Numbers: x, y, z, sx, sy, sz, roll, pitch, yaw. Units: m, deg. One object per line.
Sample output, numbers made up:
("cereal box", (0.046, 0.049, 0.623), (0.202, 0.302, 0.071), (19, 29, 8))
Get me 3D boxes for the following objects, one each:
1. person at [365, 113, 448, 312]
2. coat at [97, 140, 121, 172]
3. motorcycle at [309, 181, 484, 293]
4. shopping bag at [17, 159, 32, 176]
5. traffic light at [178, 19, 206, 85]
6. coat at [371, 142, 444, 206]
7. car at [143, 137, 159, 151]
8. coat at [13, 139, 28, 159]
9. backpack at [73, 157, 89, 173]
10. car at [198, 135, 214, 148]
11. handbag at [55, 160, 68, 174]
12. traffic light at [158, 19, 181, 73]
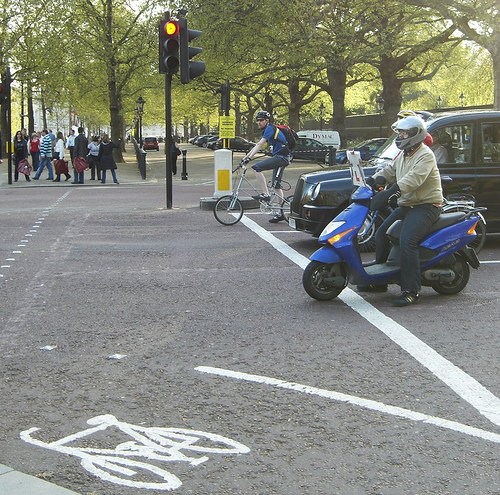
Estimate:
("person", (1.562, -0.390, 6.821), (0.766, 1.818, 1.398), (3, 10, 14))
("coat", (-4.957, -3.201, 24.323), (0.607, 0.959, 1.118), (-1, 10, -10))
("motorcycle", (1.418, -0.028, 6.981), (1.987, 0.919, 0.956), (1, 5, -4))
("shopping bag", (-8.346, -2.954, 25.682), (0.471, 0.598, 0.769), (-3, 10, -17))
("traffic light", (-1.193, -4.108, 14.481), (0.508, 1.370, 1.336), (0, 10, -5))
("coat", (1.557, -0.677, 6.686), (0.713, 0.532, 0.891), (-1, 7, -6))
("car", (-10.026, -10.510, 71.120), (1.768, 1.087, 2.594), (-2, 15, -10))
("coat", (-8.577, -3.690, 26.046), (0.478, 0.654, 0.686), (-3, 10, -18))
("backpack", (-5.889, -2.860, 24.188), (0.462, 0.551, 0.396), (-2, 10, -13))
("car", (-5.281, -12.243, 79.978), (2.296, 0.770, 1.196), (-5, 13, -13))
("handbag", (-6.893, -2.948, 25.469), (0.639, 0.486, 0.282), (-9, 14, -38))
("traffic light", (-1.568, -3.984, 13.728), (0.404, 1.016, 0.562), (-1, 10, -7))
